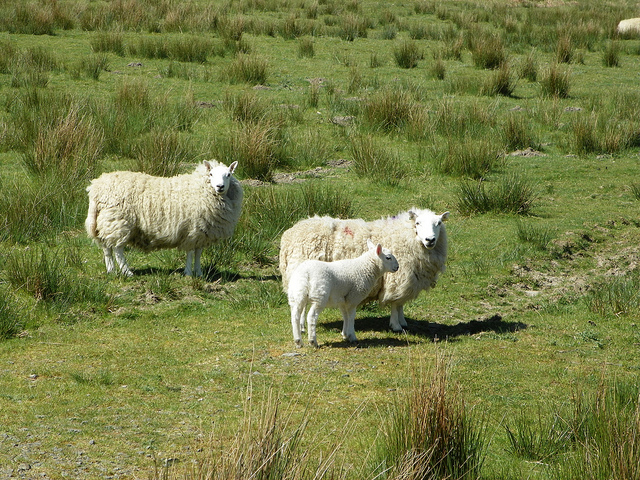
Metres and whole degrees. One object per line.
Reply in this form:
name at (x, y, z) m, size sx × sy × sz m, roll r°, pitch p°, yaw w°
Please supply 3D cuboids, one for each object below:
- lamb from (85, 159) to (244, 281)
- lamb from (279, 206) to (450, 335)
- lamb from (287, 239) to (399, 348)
lamb at (-2.313, -0.307, 16.290) m, size 2.339 × 2.053 × 1.222 m, roll 0°, pitch 3°, yaw -23°
lamb at (0.745, 0.349, 15.517) m, size 2.502 × 2.078 × 1.277 m, roll -2°, pitch 8°, yaw 3°
lamb at (0.367, 0.724, 14.443) m, size 1.538 × 1.419 × 0.519 m, roll -1°, pitch 4°, yaw -31°
